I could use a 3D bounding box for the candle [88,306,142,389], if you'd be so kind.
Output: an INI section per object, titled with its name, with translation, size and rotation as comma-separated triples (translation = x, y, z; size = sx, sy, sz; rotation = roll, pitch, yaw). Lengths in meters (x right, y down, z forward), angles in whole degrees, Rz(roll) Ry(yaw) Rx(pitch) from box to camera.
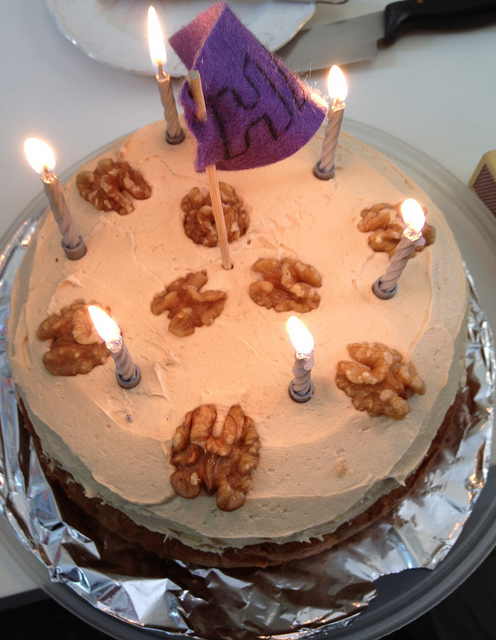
[candle]
translation = -0.564, 0.128, 2.925
size = 0.176, 0.406, 0.150
rotation = -3, 65, 1
